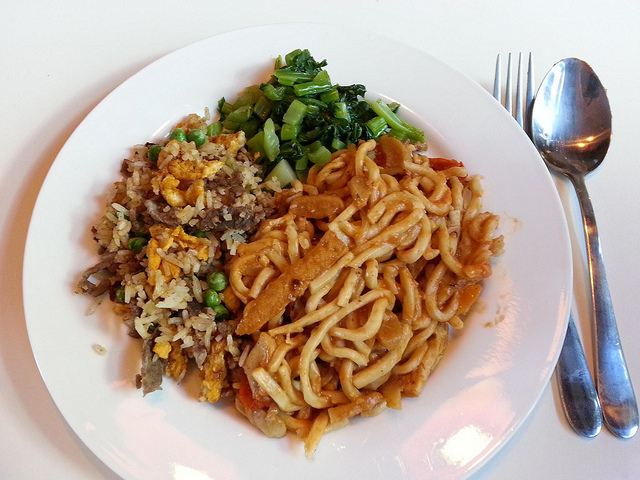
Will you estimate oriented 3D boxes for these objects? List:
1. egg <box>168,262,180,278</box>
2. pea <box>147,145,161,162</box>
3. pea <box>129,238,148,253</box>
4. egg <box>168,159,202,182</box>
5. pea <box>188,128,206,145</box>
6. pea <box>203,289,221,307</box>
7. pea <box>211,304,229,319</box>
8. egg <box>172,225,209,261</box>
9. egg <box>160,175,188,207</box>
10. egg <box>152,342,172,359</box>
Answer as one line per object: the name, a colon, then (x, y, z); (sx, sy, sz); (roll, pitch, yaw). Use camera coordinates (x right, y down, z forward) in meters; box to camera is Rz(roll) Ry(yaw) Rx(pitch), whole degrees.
egg: (-1.048, 0.220, 4.515); (0.076, 0.037, 0.098); (2, 75, 2)
pea: (-1.244, -0.649, 4.720); (0.062, 0.097, 0.115); (23, 97, 22)
pea: (-1.342, 0.041, 4.615); (0.099, 0.056, 0.102); (23, 78, -1)
egg: (-0.988, -0.510, 4.573); (0.221, 0.058, 0.145); (4, 82, -20)
pea: (-0.946, -0.784, 4.814); (0.129, 0.065, 0.136); (-7, 75, 0)
pea: (-0.796, 0.428, 4.585); (0.108, 0.090, 0.112); (-32, 76, -7)
pea: (-0.731, 0.528, 4.628); (0.094, 0.093, 0.097); (-22, 75, -4)
egg: (-0.927, 0.026, 4.481); (0.269, 0.100, 0.185); (25, 87, -17)
egg: (-1.064, -0.344, 4.579); (0.166, 0.093, 0.225); (-40, 102, -48)
egg: (-1.130, 0.783, 4.506); (0.106, 0.083, 0.116); (19, 76, 7)
